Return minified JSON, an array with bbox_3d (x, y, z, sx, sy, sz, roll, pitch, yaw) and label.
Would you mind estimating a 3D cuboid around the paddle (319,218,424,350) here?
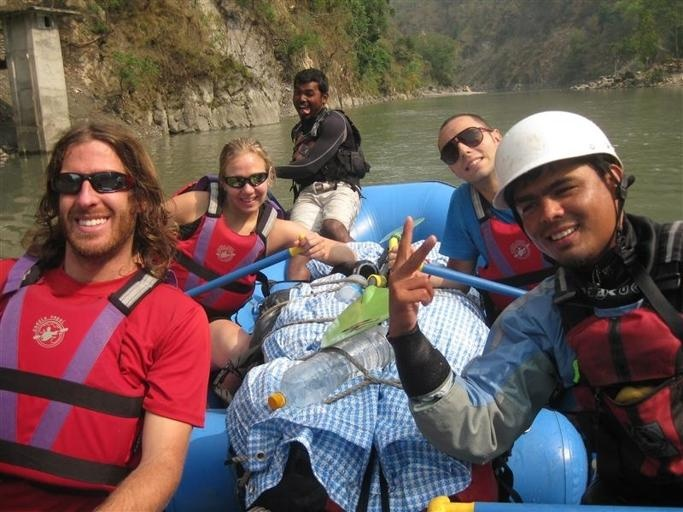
[{"bbox_3d":[0.105,0.184,3.373,0.214,0.236,0.613,29,48,24],"label":"paddle"}]
